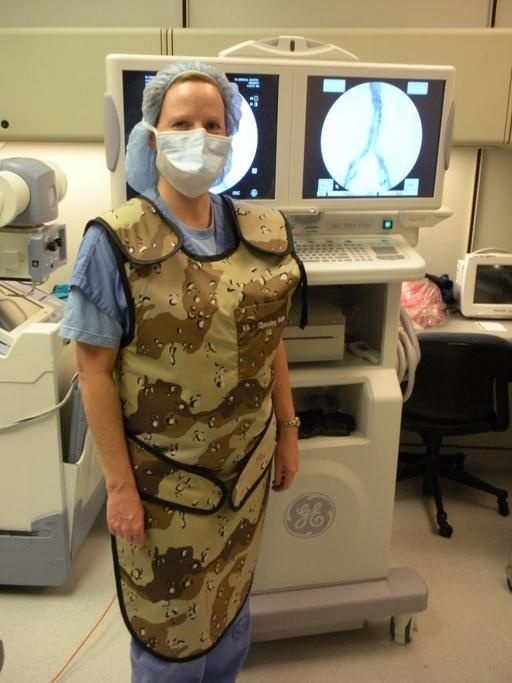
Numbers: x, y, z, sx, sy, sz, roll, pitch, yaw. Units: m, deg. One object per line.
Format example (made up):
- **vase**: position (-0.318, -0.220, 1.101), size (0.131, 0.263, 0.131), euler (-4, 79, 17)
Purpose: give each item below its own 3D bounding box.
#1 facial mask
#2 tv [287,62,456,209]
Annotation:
- **facial mask**: position (-0.096, -0.305, 0.916), size (0.100, 0.080, 0.123), euler (-5, 36, -20)
- **tv**: position (0.262, -0.507, 1.332), size (0.356, 0.301, 0.050), euler (-1, 16, -8)
